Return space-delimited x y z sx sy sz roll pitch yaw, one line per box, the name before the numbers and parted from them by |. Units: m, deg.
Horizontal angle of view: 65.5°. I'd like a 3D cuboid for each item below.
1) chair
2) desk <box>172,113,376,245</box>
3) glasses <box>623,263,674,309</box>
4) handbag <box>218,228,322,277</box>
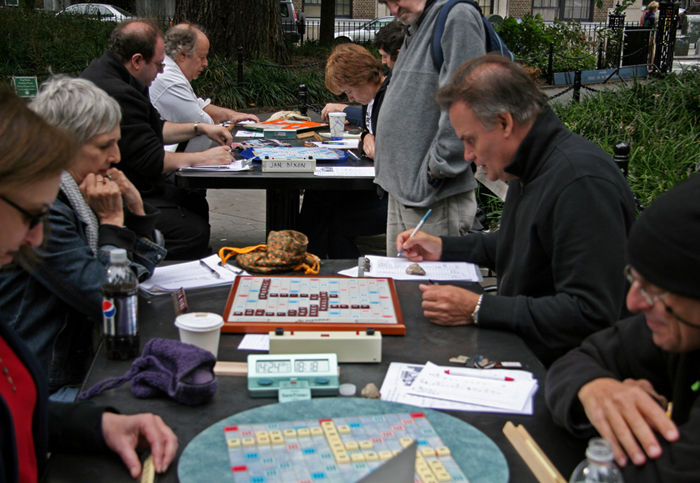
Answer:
chair | 1.729 -0.357 4.491 0.810 0.925 0.797 5 28 3
desk | -0.597 -0.506 5.340 2.161 1.068 2.218 -1 25 -6
glasses | 0.830 0.139 1.530 0.128 0.106 0.078 4 27 0
handbag | -0.426 0.077 2.864 0.547 0.237 0.393 -5 19 -15
